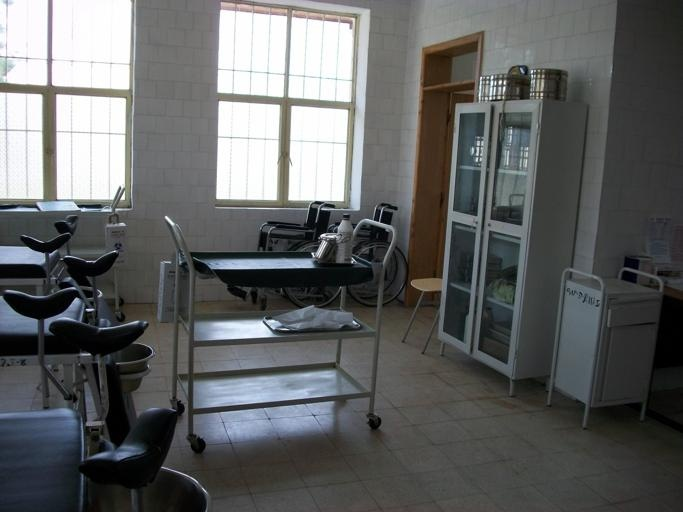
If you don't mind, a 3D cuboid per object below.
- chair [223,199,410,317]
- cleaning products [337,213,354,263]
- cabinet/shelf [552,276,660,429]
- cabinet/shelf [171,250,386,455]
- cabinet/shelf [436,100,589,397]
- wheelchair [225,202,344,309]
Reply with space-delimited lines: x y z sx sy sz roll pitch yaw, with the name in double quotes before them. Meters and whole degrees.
"chair" -0.467 -0.068 6.909 2.244 1.841 1.072 0 8 -16
"cleaning products" 0.027 -0.124 3.749 0.112 0.308 0.239 3 14 0
"cabinet/shelf" 1.943 0.697 3.989 0.707 1.093 0.477 9 16 24
"cabinet/shelf" -0.476 0.479 3.781 1.399 1.429 0.804 -2 15 -19
"cabinet/shelf" 1.368 -0.161 4.464 1.078 2.196 0.691 9 16 23
"wheelchair" -0.637 0.001 6.349 1.378 1.189 1.040 3 -11 -30
